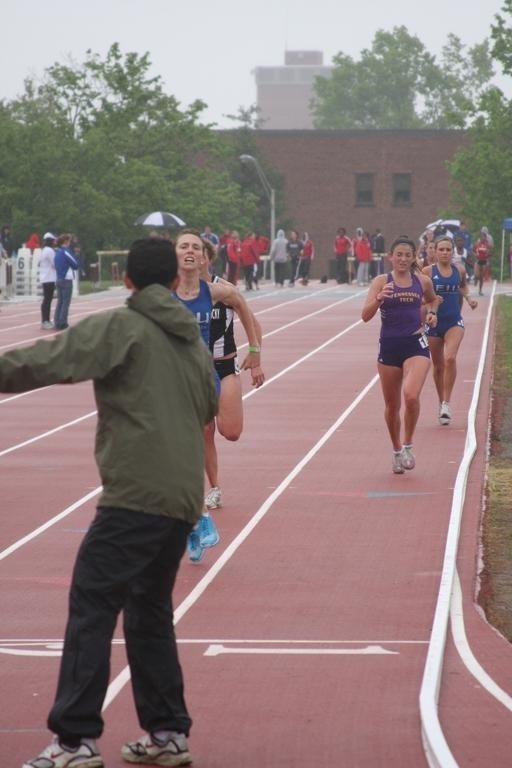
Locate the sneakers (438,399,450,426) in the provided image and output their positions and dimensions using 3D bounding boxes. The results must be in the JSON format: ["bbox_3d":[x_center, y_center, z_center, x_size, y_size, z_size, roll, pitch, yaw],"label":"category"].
[{"bbox_3d":[2.126,0.309,10.329,0.120,0.276,0.229,0,4,10],"label":"sneakers"}]

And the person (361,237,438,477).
[{"bbox_3d":[1.272,-0.287,8.196,0.554,2.087,1.004,0,4,12],"label":"person"}]

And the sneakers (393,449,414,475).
[{"bbox_3d":[1.279,0.660,7.989,0.174,0.234,0.124,-1,4,0],"label":"sneakers"}]
